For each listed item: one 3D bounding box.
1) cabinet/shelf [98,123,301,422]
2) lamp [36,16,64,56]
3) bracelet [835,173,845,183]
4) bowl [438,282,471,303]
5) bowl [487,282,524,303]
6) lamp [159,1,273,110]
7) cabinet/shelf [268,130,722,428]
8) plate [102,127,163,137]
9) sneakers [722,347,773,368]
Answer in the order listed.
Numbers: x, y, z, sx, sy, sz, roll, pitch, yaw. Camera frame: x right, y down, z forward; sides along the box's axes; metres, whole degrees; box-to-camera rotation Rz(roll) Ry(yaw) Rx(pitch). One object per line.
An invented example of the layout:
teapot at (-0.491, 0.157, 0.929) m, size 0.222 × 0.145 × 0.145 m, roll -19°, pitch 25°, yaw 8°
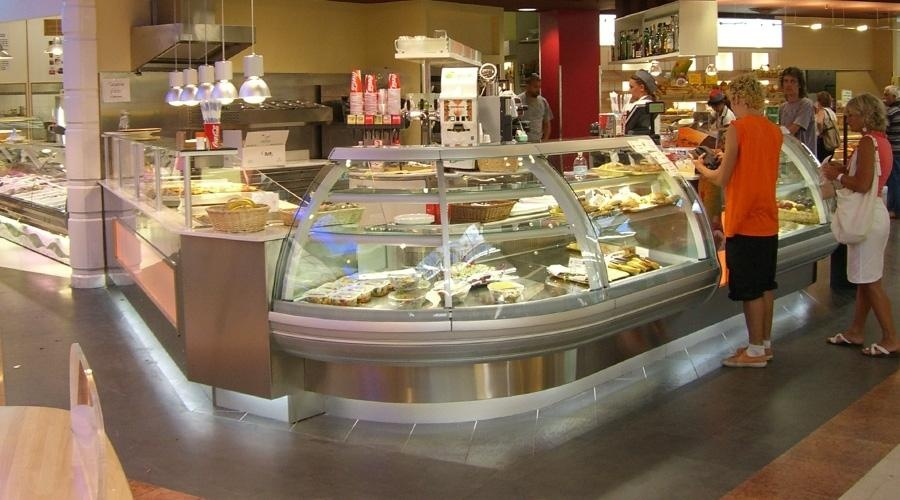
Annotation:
cabinet/shelf at (-2.376, 0.266, 5.712) m, size 1.145 × 1.294 × 3.108 m, roll -9°, pitch 16°, yaw -35°
lamp at (-5.758, -3.087, 8.991) m, size 0.197 × 0.415 × 1.364 m, roll -13°, pitch 17°, yaw -32°
bracelet at (3.655, -0.681, 5.836) m, size 0.034 × 0.083 × 0.082 m, roll 27°, pitch 16°, yaw 40°
bowl at (0.015, 0.323, 4.715) m, size 0.169 × 0.067 × 0.193 m, roll -2°, pitch 11°, yaw 2°
bowl at (0.442, 0.330, 4.844) m, size 0.219 × 0.064 × 0.193 m, roll -2°, pitch 7°, yaw -16°
lamp at (-2.871, -2.267, 7.464) m, size 1.162 × 1.028 × 3.186 m, roll -7°, pitch 14°, yaw -16°
cabinet/shelf at (0.340, 0.300, 4.991) m, size 2.810 × 1.130 × 1.028 m, roll -7°, pitch 11°, yaw -28°
plate at (-4.109, -1.517, 7.963) m, size 0.372 × 0.069 × 0.320 m, roll 0°, pitch 3°, yaw -6°
sneakers at (2.686, 0.997, 5.726) m, size 0.489 × 0.158 × 0.160 m, roll 0°, pitch 1°, yaw 5°
